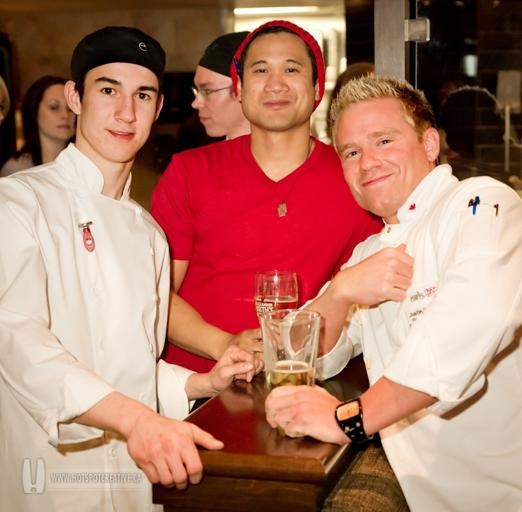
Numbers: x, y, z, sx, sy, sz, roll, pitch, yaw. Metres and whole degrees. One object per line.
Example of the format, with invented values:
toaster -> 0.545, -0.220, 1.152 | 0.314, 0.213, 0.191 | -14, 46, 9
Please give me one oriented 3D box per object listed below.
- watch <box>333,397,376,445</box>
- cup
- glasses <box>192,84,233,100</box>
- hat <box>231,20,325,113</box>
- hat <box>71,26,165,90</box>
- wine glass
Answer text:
watch -> 0.184, 0.334, 1.099 | 0.072, 0.088, 0.099 | -24, 5, 4
cup -> 0.058, 0.190, 1.097 | 0.165, 0.226, 0.154 | -1, -5, 0
glasses -> -0.265, -0.841, 2.800 | 0.162, 0.043, 0.145 | -7, 17, -19
hat -> 0.089, -0.595, 1.930 | 0.308, 0.345, 0.123 | 2, -5, 2
hat -> -0.381, -0.539, 1.499 | 0.212, 0.117, 0.196 | -15, 28, -32
wine glass -> 0.055, 0.111, 1.497 | 0.153, 0.225, 0.149 | 0, -3, 1
